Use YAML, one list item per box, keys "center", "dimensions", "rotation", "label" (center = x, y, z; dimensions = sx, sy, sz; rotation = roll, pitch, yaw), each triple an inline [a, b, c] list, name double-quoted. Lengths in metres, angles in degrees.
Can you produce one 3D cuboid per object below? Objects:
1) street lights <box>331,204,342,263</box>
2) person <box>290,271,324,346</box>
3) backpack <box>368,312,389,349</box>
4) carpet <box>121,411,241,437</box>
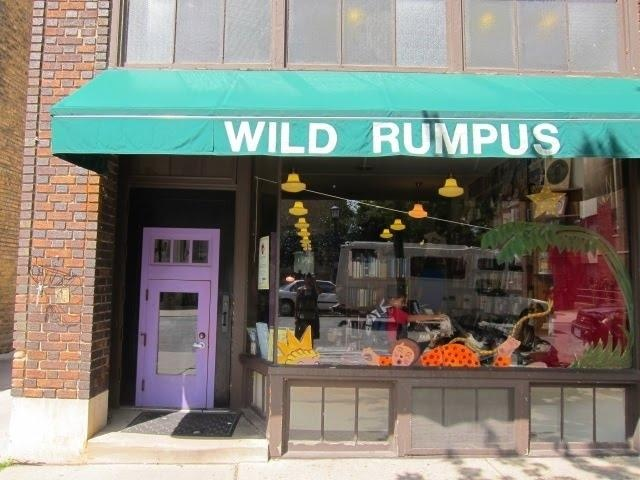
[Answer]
- center: [0.251, -0.101, 10.772]
  dimensions: [0.058, 0.901, 0.222]
  rotation: [-6, -6, 39]
  label: "street lights"
- center: [-0.223, 1.052, 10.375]
  dimensions: [0.372, 0.946, 0.414]
  rotation: [5, -1, -20]
  label: "person"
- center: [0.891, 1.390, 10.406]
  dimensions: [0.293, 0.507, 0.513]
  rotation: [-3, -4, 4]
  label: "backpack"
- center: [-2.047, 2.778, 10.316]
  dimensions: [1.626, 0.278, 1.025]
  rotation: [-3, -4, 4]
  label: "carpet"
